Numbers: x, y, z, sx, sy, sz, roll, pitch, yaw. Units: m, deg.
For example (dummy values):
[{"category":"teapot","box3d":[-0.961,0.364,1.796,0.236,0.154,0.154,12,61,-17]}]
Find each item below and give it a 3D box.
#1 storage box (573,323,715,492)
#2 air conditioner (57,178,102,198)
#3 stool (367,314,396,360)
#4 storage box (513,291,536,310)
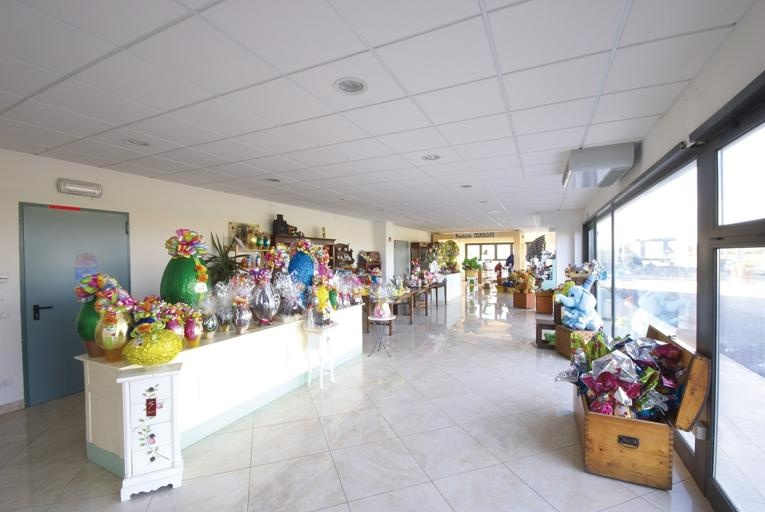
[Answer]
[{"category":"storage box","box3d":[2.579,1.540,4.539,1.121,1.611,0.506,-1,0,20]},{"category":"air conditioner","box3d":[-4.123,-0.949,6.133,0.341,0.202,0.079,0,-34,-41]},{"category":"stool","box3d":[-0.023,1.449,8.404,0.583,0.627,0.581,1,-8,-3]},{"category":"storage box","box3d":[3.884,1.177,12.351,0.383,0.464,0.701,1,-1,-14]}]
